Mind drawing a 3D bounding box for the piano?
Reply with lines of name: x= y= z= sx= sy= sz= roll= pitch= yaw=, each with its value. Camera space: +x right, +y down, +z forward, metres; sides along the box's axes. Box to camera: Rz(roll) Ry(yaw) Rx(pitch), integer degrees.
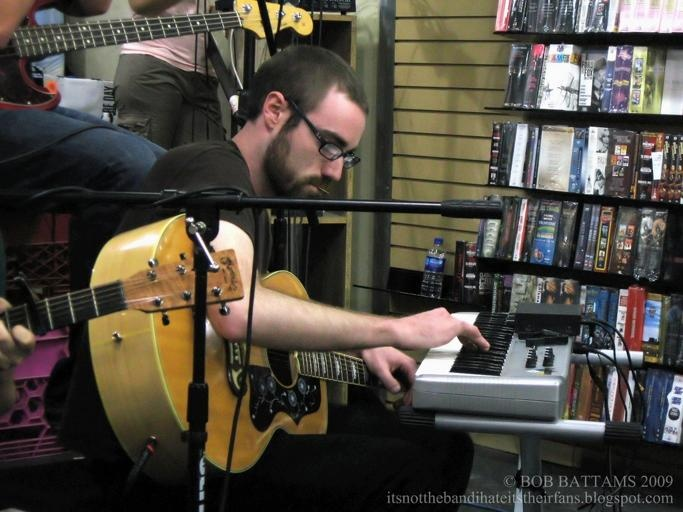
piano: x=0.441 y=0.263 z=1.896 sx=0.391 sy=0.222 sz=0.557 roll=7 pitch=9 yaw=19
